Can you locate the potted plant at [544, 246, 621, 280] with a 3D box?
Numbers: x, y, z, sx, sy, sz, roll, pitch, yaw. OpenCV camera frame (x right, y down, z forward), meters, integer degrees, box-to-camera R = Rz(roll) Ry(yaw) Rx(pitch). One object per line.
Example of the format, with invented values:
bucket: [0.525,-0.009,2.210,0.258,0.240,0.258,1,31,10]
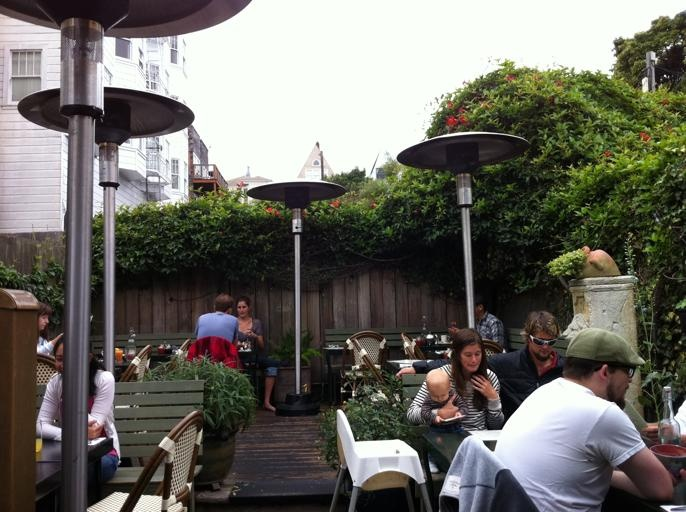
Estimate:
potted plant: [2.658,0.099,7.313,0.497,0.314,0.374,-8,-5,26]

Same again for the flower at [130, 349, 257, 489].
flower: [-1.296,1.486,6.313,0.843,0.946,0.675,-8,-31,29]

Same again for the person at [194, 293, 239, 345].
person: [-1.524,0.789,8.204,0.442,0.610,0.757,-1,-4,-5]

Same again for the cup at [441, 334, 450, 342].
cup: [1.544,1.245,9.948,0.082,0.096,0.098,0,-5,-2]

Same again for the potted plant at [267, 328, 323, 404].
potted plant: [-0.881,1.719,10.569,0.686,1.112,0.810,8,-7,-22]

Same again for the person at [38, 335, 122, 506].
person: [-2.009,1.186,5.083,0.642,1.119,0.707,-2,1,34]

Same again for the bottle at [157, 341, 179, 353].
bottle: [-2.436,1.327,9.543,0.338,0.189,0.289,4,-3,-35]
